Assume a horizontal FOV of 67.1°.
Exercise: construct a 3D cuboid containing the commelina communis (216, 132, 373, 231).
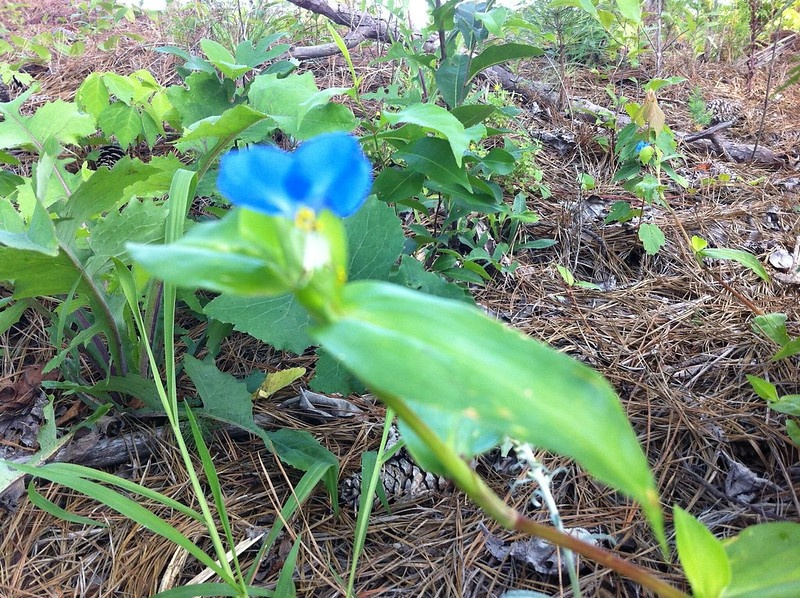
[{"bbox_3d":[-0.265,-0.228,1.450,0.324,0.130,0.497,-9,-7,-15],"label":"commelina communis"}]
